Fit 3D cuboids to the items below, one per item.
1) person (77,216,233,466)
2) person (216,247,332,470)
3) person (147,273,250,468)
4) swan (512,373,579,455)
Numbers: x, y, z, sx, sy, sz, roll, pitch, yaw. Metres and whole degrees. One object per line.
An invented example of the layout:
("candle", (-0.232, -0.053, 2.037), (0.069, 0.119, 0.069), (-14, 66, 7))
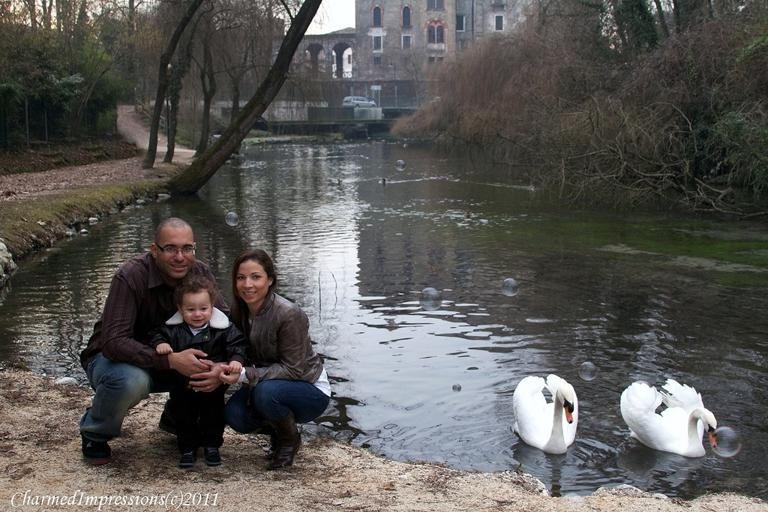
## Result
("person", (-2.274, 0.782, 7.438), (1.310, 2.500, 1.078), (1, 2, 14))
("person", (-1.026, 1.010, 7.395), (0.950, 2.189, 1.041), (5, 0, 8))
("person", (-1.828, 1.083, 7.242), (0.832, 1.875, 0.925), (2, 0, -15))
("swan", (1.783, 1.787, 8.029), (0.606, 0.794, 1.507), (1, 0, -5))
